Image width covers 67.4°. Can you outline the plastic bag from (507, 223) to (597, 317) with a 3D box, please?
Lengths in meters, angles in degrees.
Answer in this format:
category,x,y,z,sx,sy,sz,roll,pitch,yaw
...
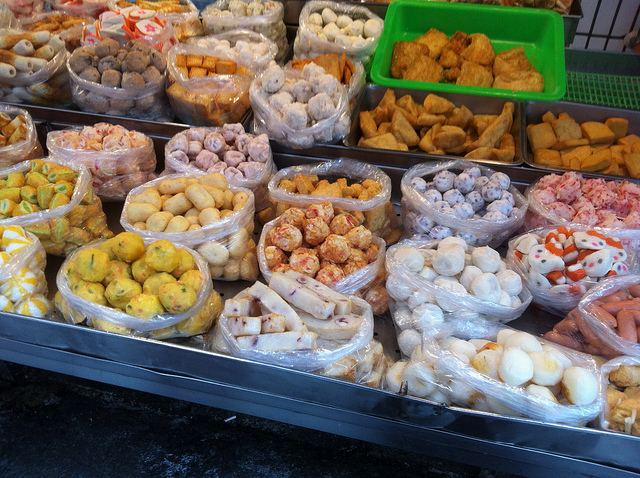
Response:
category,x,y,z,sx,sy,sz,roll,pitch,yaw
plastic bag,0.990,0.179,2.196,0.302,0.258,0.396,-22,46,-13

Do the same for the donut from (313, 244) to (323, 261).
category,x,y,z,sx,sy,sz,roll,pitch,yaw
donut,-0.010,0.056,2.094,0.052,0.053,0.020,-23,39,15

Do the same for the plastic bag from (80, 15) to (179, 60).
category,x,y,z,sx,sy,sz,roll,pitch,yaw
plastic bag,-1.141,-1.233,2.981,0.418,0.173,0.395,-12,48,-4

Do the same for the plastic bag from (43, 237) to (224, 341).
category,x,y,z,sx,sy,sz,roll,pitch,yaw
plastic bag,-0.752,0.214,1.899,0.556,0.224,0.452,2,60,-6

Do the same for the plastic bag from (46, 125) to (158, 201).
category,x,y,z,sx,sy,sz,roll,pitch,yaw
plastic bag,-1.086,-0.331,2.408,0.432,0.286,0.490,5,36,-8

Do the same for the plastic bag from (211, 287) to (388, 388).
category,x,y,z,sx,sy,sz,roll,pitch,yaw
plastic bag,-0.077,0.408,1.883,0.523,0.200,0.402,8,45,2

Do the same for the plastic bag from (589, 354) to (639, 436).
category,x,y,z,sx,sy,sz,roll,pitch,yaw
plastic bag,1.062,0.564,1.771,0.182,0.104,0.253,5,76,6

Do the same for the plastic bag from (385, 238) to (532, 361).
category,x,y,z,sx,sy,sz,roll,pitch,yaw
plastic bag,0.513,0.147,1.950,0.420,0.370,0.532,9,34,-2

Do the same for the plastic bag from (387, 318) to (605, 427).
category,x,y,z,sx,sy,sz,roll,pitch,yaw
plastic bag,0.651,0.536,1.820,0.612,0.225,0.384,15,46,10

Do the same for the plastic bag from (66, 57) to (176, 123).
category,x,y,z,sx,sy,sz,roll,pitch,yaw
plastic bag,-1.145,-0.777,2.754,0.455,0.200,0.406,3,45,-11

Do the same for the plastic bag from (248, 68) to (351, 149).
category,x,y,z,sx,sy,sz,roll,pitch,yaw
plastic bag,-0.107,-0.642,2.429,0.456,0.197,0.414,2,78,-1

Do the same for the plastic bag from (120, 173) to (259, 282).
category,x,y,z,sx,sy,sz,roll,pitch,yaw
plastic bag,-0.551,-0.010,2.319,0.533,0.393,0.515,14,47,12

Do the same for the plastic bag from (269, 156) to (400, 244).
category,x,y,z,sx,sy,sz,roll,pitch,yaw
plastic bag,0.073,-0.226,2.390,0.531,0.249,0.436,26,50,20
